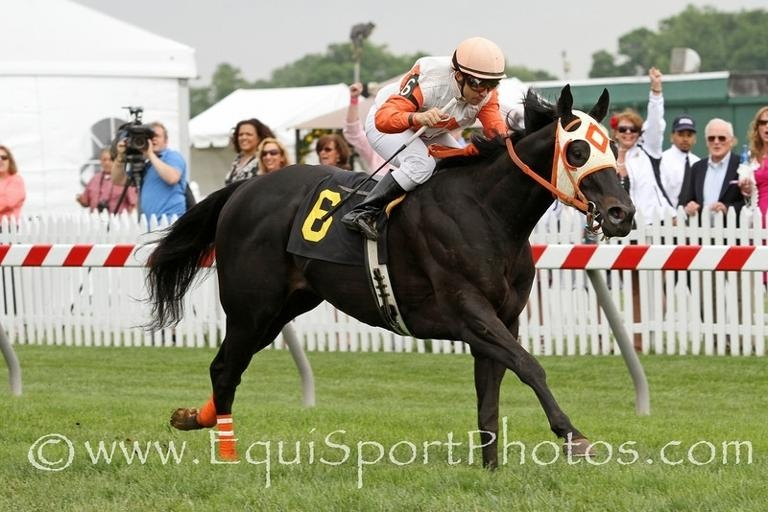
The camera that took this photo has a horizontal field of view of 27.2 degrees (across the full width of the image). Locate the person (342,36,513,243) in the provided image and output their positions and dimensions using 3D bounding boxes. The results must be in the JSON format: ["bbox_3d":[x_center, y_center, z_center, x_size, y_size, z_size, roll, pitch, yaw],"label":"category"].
[{"bbox_3d":[0.526,-1.011,13.264,1.268,1.729,1.111,13,19,-12],"label":"person"}]

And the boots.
[{"bbox_3d":[-0.139,-0.389,12.954,0.263,0.478,0.521,15,3,34],"label":"boots"}]

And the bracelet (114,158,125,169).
[{"bbox_3d":[-2.800,-0.973,16.689,0.059,0.059,0.090,-2,-25,-31],"label":"bracelet"}]

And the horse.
[{"bbox_3d":[-0.111,0.237,13.534,5.007,3.016,1.234,1,-4,38],"label":"horse"}]

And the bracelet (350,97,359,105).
[{"bbox_3d":[-0.276,-1.461,14.972,0.087,0.076,0.083,0,9,9],"label":"bracelet"}]

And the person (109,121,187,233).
[{"bbox_3d":[-2.441,-0.784,16.701,0.816,1.169,0.748,-1,1,-21],"label":"person"}]

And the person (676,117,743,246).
[{"bbox_3d":[3.360,-0.820,15.965,0.651,1.058,0.967,1,9,9],"label":"person"}]

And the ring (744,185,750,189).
[{"bbox_3d":[3.637,-0.674,15.641,0.024,0.045,0.088,3,4,36],"label":"ring"}]
